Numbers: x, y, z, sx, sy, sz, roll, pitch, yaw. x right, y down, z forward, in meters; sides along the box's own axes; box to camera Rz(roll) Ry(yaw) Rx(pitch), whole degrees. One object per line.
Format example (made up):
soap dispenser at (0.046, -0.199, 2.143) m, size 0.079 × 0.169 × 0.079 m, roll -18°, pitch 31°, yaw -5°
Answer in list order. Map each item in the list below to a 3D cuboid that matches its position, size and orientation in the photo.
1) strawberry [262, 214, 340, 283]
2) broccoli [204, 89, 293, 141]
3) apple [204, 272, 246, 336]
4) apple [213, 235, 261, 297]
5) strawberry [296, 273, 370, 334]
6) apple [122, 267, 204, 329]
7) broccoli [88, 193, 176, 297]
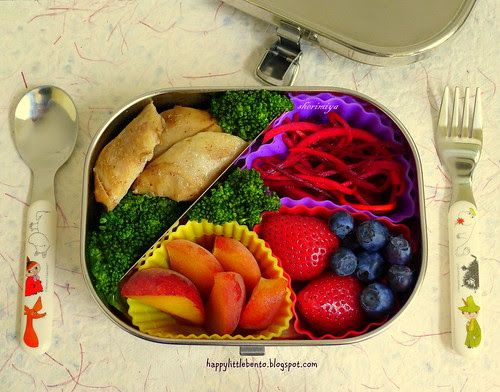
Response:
strawberry at (0.150, 0.164, 1.704) m, size 0.217 × 0.140 × 0.181 m, roll 28°, pitch 46°, yaw 6°
broccoli at (-0.039, -0.281, 1.718) m, size 0.266 × 0.196 × 0.125 m, roll -7°, pitch 90°, yaw 7°
apple at (-0.077, 0.334, 1.579) m, size 0.063 × 0.142 × 0.178 m, roll 8°, pitch 80°, yaw -25°
apple at (-0.044, 0.225, 1.607) m, size 0.174 × 0.141 × 0.097 m, roll 0°, pitch 51°, yaw 36°
strawberry at (0.251, 0.338, 1.610) m, size 0.205 × 0.055 × 0.198 m, roll -5°, pitch 82°, yaw -2°
apple at (-0.243, 0.297, 1.537) m, size 0.096 × 0.206 × 0.097 m, roll -24°, pitch 31°, yaw 0°
broccoli at (-0.394, 0.150, 1.688) m, size 0.208 × 0.105 × 0.334 m, roll 22°, pitch 78°, yaw -3°
